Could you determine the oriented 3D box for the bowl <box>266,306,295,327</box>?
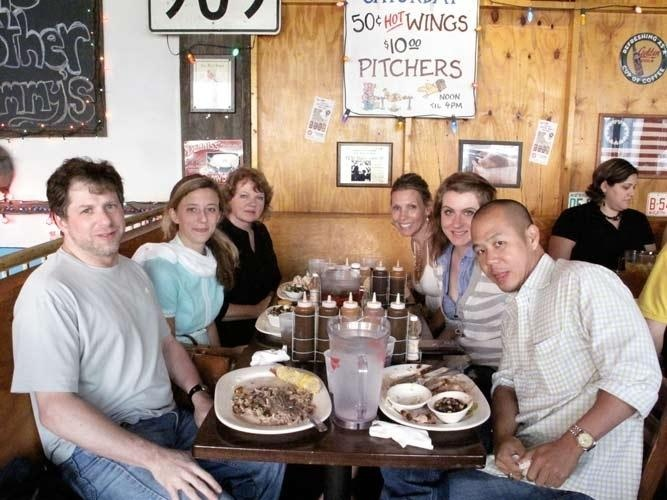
[{"bbox_3d":[-0.256,0.308,2.447,0.110,0.041,0.110,-1,10,0],"label":"bowl"}]

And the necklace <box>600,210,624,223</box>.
[{"bbox_3d":[2.166,-0.258,3.917,0.085,0.035,0.105,-13,-5,-7],"label":"necklace"}]

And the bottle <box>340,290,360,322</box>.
[{"bbox_3d":[0.085,0.246,2.143,0.092,0.166,0.094,1,2,0],"label":"bottle"}]

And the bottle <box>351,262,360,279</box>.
[{"bbox_3d":[0.162,0.118,3.222,0.067,0.068,0.069,3,9,22],"label":"bottle"}]

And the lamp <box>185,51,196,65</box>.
[{"bbox_3d":[-1.119,-1.538,4.030,0.081,0.082,0.128,9,12,-18],"label":"lamp"}]

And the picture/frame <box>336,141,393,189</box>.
[{"bbox_3d":[0.268,-0.742,4.260,0.501,0.397,0.023,0,6,-4],"label":"picture/frame"}]

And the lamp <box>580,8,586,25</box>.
[{"bbox_3d":[2.039,-1.909,4.130,0.044,0.104,0.112,4,11,28],"label":"lamp"}]

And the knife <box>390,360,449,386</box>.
[{"bbox_3d":[0.341,0.486,2.014,0.253,0.034,0.080,-15,24,-28],"label":"knife"}]

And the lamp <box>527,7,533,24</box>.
[{"bbox_3d":[1.612,-1.927,4.140,0.039,0.108,0.066,5,12,32],"label":"lamp"}]

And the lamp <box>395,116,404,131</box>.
[{"bbox_3d":[0.569,-1.054,4.204,0.070,0.093,0.093,0,2,6],"label":"lamp"}]

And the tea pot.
[{"bbox_3d":[0.078,0.419,1.796,0.226,0.342,0.331,1,12,1],"label":"tea pot"}]

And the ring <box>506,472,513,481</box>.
[{"bbox_3d":[0.635,0.818,1.824,0.028,0.013,0.040,5,0,-1],"label":"ring"}]

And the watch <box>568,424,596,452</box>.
[{"bbox_3d":[0.822,0.622,1.675,0.046,0.077,0.075,-35,15,4],"label":"watch"}]

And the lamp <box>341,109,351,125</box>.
[{"bbox_3d":[0.113,-1.108,4.189,0.071,0.106,0.072,-1,10,0],"label":"lamp"}]

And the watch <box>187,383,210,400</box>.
[{"bbox_3d":[-0.593,0.617,2.232,0.082,0.082,0.054,-20,28,-5],"label":"watch"}]

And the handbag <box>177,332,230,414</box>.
[{"bbox_3d":[-0.653,0.617,2.508,0.221,0.397,0.400,-7,8,-19],"label":"handbag"}]

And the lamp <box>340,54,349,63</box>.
[{"bbox_3d":[0.104,-1.553,4.095,0.043,0.056,0.078,-10,13,-41],"label":"lamp"}]

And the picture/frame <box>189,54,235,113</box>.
[{"bbox_3d":[-0.964,-1.371,4.073,0.430,0.512,0.021,1,8,-5],"label":"picture/frame"}]
